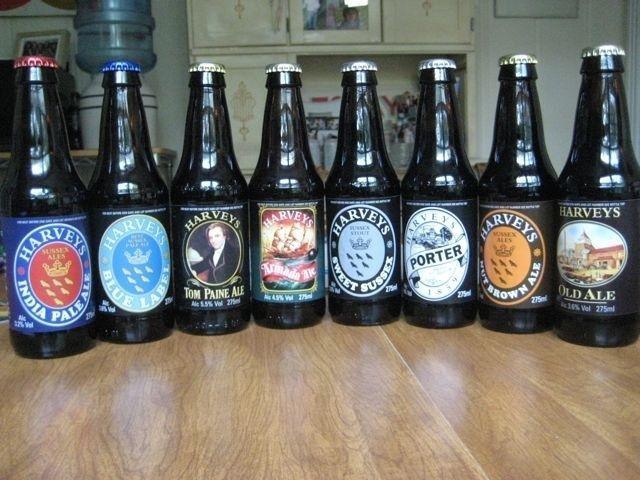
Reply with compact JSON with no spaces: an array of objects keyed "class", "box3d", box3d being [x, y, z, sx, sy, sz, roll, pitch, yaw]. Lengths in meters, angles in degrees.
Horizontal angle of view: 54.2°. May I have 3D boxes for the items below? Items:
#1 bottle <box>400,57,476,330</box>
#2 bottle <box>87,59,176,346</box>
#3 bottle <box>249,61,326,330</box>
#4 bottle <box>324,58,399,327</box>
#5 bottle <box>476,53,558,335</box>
[{"class":"bottle","box3d":[0.157,-0.060,0.833,0.093,0.344,0.098,-2,14,0]},{"class":"bottle","box3d":[-0.250,-0.047,0.804,0.105,0.350,0.093,-5,15,-14]},{"class":"bottle","box3d":[-0.047,-0.058,0.847,0.105,0.347,0.094,-2,14,0]},{"class":"bottle","box3d":[0.057,-0.063,0.853,0.102,0.349,0.097,-2,14,0]},{"class":"bottle","box3d":[0.255,-0.057,0.803,0.097,0.345,0.089,-2,14,0]}]
